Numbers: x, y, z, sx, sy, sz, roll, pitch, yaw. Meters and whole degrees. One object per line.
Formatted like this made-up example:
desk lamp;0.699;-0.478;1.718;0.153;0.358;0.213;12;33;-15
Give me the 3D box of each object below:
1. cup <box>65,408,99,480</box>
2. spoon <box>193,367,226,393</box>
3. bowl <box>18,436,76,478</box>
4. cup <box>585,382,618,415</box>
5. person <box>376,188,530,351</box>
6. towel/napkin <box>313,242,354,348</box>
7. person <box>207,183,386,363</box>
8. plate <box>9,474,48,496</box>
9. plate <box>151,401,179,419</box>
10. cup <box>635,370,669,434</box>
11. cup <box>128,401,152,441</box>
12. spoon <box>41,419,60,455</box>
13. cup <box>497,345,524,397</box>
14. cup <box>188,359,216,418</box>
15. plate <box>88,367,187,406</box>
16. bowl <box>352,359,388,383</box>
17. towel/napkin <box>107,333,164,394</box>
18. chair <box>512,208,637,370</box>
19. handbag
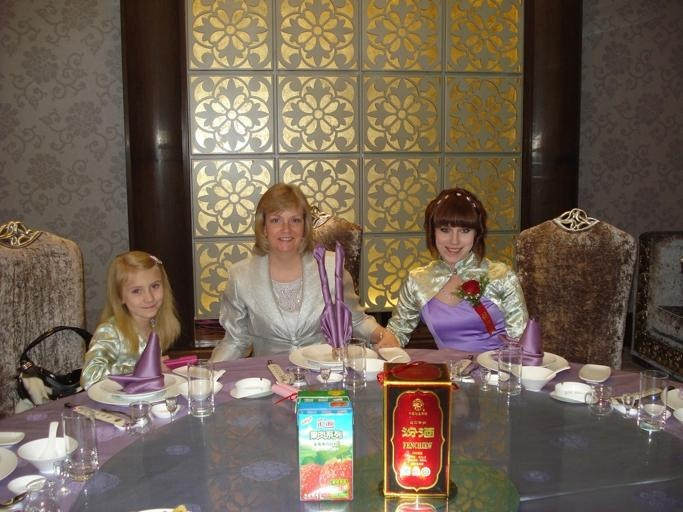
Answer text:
cup;-0.690;0.489;1.430;0.081;0.157;0.122;-3;6;-27
spoon;-0.436;0.404;1.759;0.075;0.028;0.102;1;-31;-2
bowl;-0.793;0.525;1.444;0.115;0.051;0.117;-2;18;1
cup;0.827;0.463;1.723;0.091;0.092;0.060;0;-5;2
person;0.544;0.190;2.669;0.696;0.933;0.573;-4;24;8
towel/napkin;-0.037;0.179;2.321;0.143;0.468;0.083;-5;3;-13
person;-0.272;0.194;2.688;1.052;0.996;0.605;-5;12;-12
plate;-0.794;0.571;1.360;0.067;0.016;0.068;-2;19;-12
plate;-0.560;0.481;1.703;0.052;0.015;0.053;2;12;6
cup;0.976;0.451;1.699;0.093;0.176;0.093;1;0;0
cup;-0.601;0.495;1.653;0.089;0.090;0.060;-10;-6;41
spoon;-0.788;0.486;1.457;0.028;0.016;0.089;4;41;-13
cup;0.583;0.385;1.857;0.127;0.166;0.131;2;-4;0
cup;-0.453;0.415;1.740;0.089;0.156;0.092;3;5;0
plate;-0.672;0.438;1.739;0.240;0.033;0.250;-6;-27;-7
bowl;0.108;0.412;1.995;0.117;0.043;0.121;-6;29;3
towel/napkin;-0.693;0.362;1.852;0.201;0.209;0.182;-1;-17;11
chair;1.374;0.189;3.104;0.626;1.063;0.663;11;26;40
handbag;-1.257;0.492;2.384;0.328;0.336;0.217;1;-5;-39
